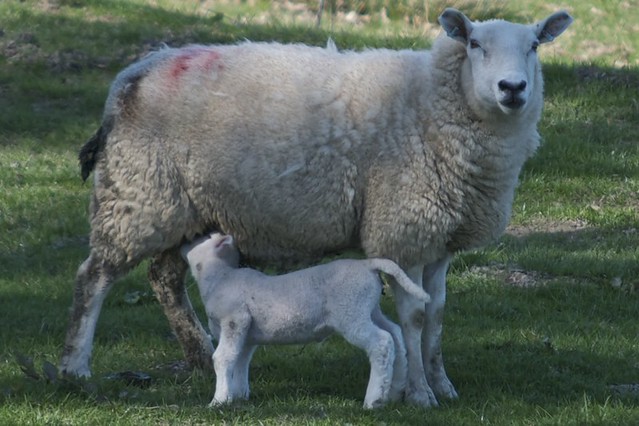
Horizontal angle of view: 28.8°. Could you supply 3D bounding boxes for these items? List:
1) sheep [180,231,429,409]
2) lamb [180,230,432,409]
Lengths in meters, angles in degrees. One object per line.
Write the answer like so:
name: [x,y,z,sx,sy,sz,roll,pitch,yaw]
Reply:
sheep: [-0.291,1.304,15.366,3.249,2.166,0.923,-1,-7,18]
lamb: [-0.381,1.301,15.381,3.346,2.178,0.931,0,-6,18]
